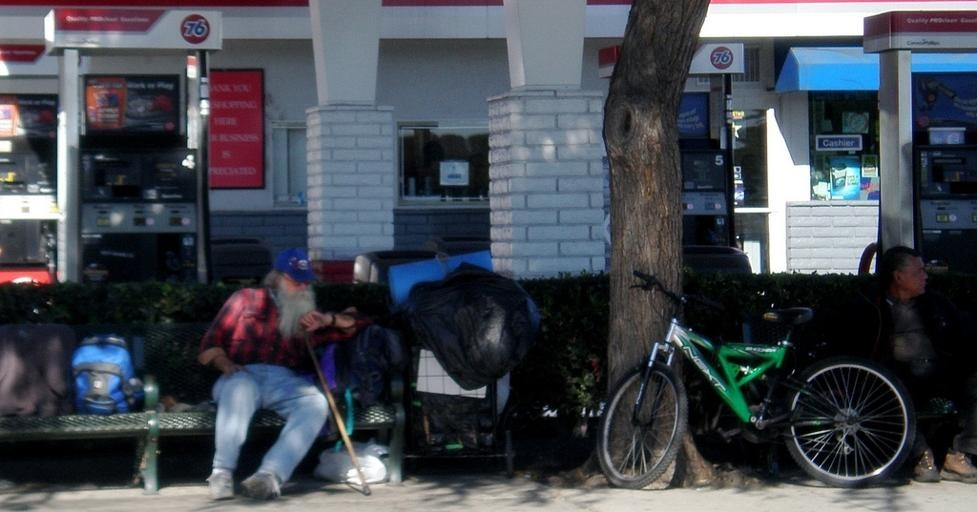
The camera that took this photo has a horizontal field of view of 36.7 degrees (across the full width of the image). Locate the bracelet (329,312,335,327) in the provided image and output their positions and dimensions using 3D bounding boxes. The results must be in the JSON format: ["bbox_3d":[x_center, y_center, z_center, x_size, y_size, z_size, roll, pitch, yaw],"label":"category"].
[{"bbox_3d":[-2.094,0.835,19.746,0.079,0.123,0.095,2,-2,-5],"label":"bracelet"}]

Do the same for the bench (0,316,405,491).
[{"bbox_3d":[-3.807,1.965,19.748,5.288,1.993,0.675,-2,-1,-5],"label":"bench"}]

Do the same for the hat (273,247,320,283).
[{"bbox_3d":[-2.655,0.108,19.938,0.560,0.315,0.394,14,6,30],"label":"hat"}]
